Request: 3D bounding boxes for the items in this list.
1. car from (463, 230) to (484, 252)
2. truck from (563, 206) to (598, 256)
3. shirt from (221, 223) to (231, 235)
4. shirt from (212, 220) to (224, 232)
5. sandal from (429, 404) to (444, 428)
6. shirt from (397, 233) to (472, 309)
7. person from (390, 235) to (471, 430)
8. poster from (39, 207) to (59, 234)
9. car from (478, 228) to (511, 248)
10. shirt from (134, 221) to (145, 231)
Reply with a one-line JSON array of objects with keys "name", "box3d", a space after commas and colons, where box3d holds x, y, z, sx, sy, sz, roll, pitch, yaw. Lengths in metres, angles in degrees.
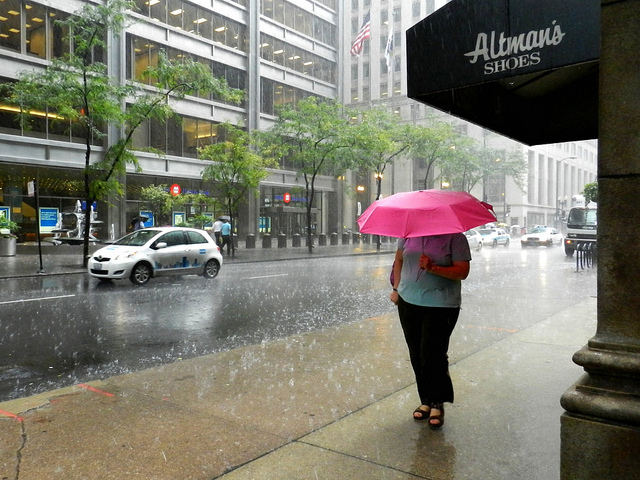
[{"name": "car", "box3d": [8.741, 0.011, 28.774, 2.012, 1.047, 1.210, -9, 10, -43]}, {"name": "truck", "box3d": [14.075, -0.492, 27.424, 1.231, 2.726, 2.401, 0, 2, 6]}, {"name": "shirt", "box3d": [-4.919, -0.617, 26.352, 0.461, 0.507, 0.274, 7, 20, 17]}, {"name": "shirt", "box3d": [-5.634, -0.798, 27.898, 0.644, 0.673, 0.384, 9, 16, -4]}, {"name": "sandal", "box3d": [1.153, 1.722, 5.050, 0.136, 0.181, 0.218, 0, 2, 15]}, {"name": "shirt", "box3d": [1.105, 0.251, 5.220, 0.777, 0.879, 0.495, -2, -20, 38]}, {"name": "person", "box3d": [1.088, 0.881, 5.104, 0.789, 1.874, 0.503, 0, 1, 19]}, {"name": "poster", "box3d": [-16.780, -1.285, 31.247, 0.147, 1.196, 1.579, 0, 6, 31]}, {"name": "car", "box3d": [15.008, -0.237, 43.929, 1.525, 1.353, 3.808, -3, -2, 42]}, {"name": "shirt", "box3d": [-9.256, -0.771, 25.885, 0.517, 0.304, 0.759, -1, 10, -17]}]
